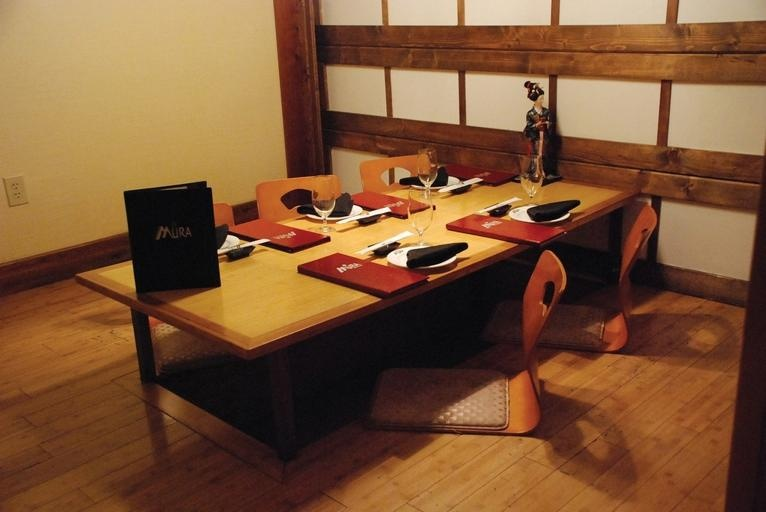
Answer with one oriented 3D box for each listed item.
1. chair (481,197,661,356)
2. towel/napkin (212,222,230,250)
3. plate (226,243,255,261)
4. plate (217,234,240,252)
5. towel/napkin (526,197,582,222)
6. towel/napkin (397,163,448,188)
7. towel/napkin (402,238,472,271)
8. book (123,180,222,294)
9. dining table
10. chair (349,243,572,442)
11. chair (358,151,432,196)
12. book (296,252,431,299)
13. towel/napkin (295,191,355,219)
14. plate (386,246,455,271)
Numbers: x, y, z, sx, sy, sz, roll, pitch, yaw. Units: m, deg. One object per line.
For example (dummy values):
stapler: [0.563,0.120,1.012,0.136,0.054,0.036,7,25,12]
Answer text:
chair: [0.972,0.100,2.996,0.909,0.655,0.550,-2,18,23]
towel/napkin: [-0.740,-0.091,2.522,0.078,0.100,0.095,-28,63,-32]
plate: [-0.657,-0.029,2.549,0.066,0.038,0.116,27,37,35]
plate: [-0.724,-0.065,2.614,0.057,0.029,0.093,23,33,16]
towel/napkin: [0.858,-0.239,2.809,0.237,0.049,0.132,-14,14,-27]
towel/napkin: [0.263,-0.476,3.332,0.344,0.116,0.084,-7,18,-12]
towel/napkin: [0.221,-0.020,2.361,0.237,0.061,0.116,-13,13,-21]
book: [-0.850,-0.065,2.228,0.354,0.419,0.090,-4,22,1]
dining table: [0.092,0.082,3.068,2.822,0.897,1.389,-20,26,-38]
chair: [0.326,0.366,2.462,0.891,0.625,0.548,-3,14,11]
chair: [-0.006,-0.554,3.570,0.270,0.264,0.461,6,11,34]
book: [-0.089,0.070,2.307,0.383,0.033,0.222,15,25,34]
towel/napkin: [-0.289,-0.268,2.960,0.187,0.053,0.193,12,26,33]
plate: [0.181,0.000,2.350,0.180,0.037,0.153,-9,8,-24]
